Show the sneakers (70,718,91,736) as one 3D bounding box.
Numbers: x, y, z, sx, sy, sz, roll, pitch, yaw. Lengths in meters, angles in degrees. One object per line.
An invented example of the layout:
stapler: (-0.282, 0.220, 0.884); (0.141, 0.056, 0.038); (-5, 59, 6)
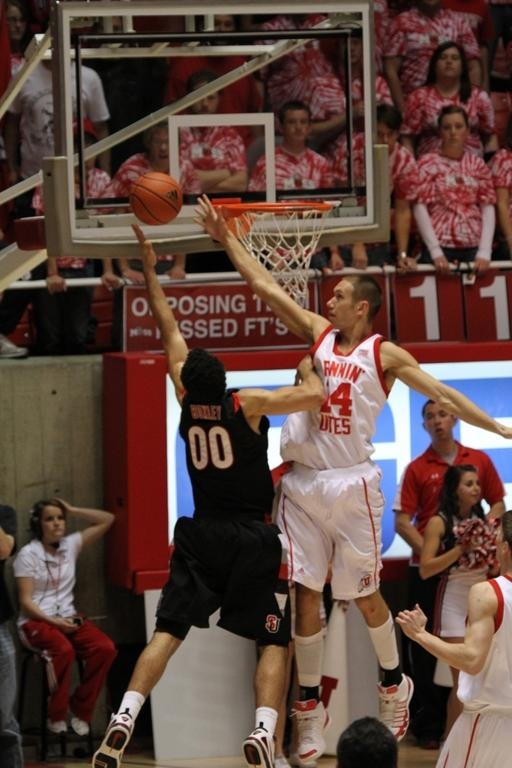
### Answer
sneakers: (-1.194, 2.316, 4.980); (0.088, 0.145, 0.060); (-38, -3, -21)
